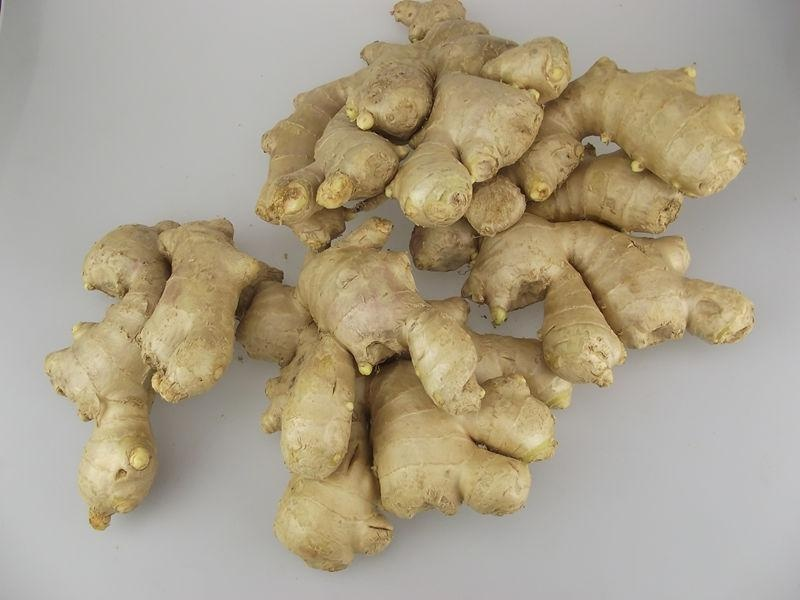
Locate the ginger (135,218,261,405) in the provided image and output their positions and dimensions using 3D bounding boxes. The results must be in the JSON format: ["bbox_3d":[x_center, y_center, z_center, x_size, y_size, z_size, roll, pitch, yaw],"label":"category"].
[{"bbox_3d":[-0.685,0.000,2.810,0.430,0.182,0.715,12,44,-11],"label":"ginger"}]
